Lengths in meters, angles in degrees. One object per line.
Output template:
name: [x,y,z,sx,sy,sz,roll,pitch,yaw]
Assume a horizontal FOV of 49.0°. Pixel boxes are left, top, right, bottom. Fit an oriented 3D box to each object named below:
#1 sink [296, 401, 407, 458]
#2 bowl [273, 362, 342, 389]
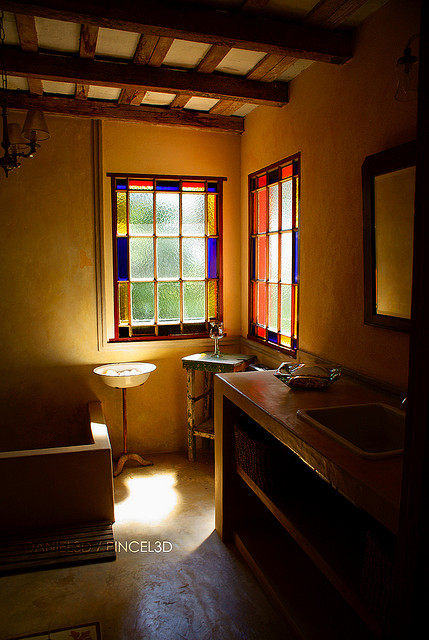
sink: [0.610,0.440,1.927,0.494,0.202,0.372,-13,-8,16]
bowl: [0.457,0.271,2.289,0.311,0.090,0.333,0,2,0]
